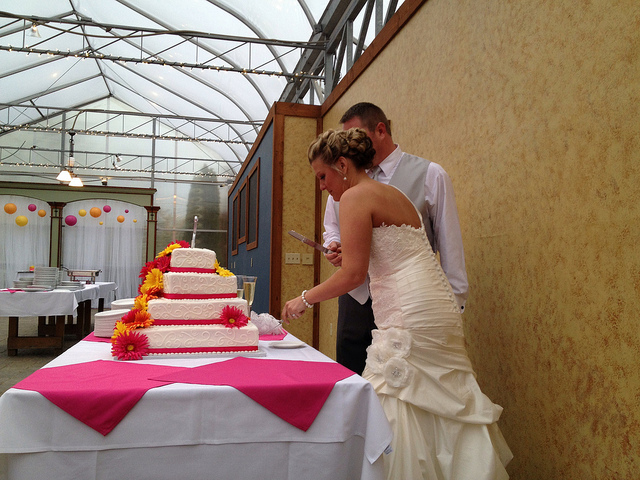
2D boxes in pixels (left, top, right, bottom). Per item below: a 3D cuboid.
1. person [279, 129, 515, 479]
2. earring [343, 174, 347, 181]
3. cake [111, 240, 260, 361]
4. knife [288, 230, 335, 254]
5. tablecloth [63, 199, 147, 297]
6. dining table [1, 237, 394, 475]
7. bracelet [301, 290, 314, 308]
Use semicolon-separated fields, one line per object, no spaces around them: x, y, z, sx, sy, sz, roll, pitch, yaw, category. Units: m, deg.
0.514;0.513;3.303;1.363;2.891;1.097;-7;-7;30;person
0.108;-0.292;2.326;0.005;0.024;0.017;-3;-32;-11;earring
-0.626;0.307;2.391;0.493;0.443;0.544;0;-1;-11;cake
-0.100;0.012;4.168;0.053;0.051;0.538;-13;-33;34;knife
-6.648;0.219;15.566;2.437;3.717;0.249;5;-36;-30;tablecloth
-0.485;0.448;2.177;1.354;0.866;0.868;2;0;-8;dining table
-0.066;0.265;2.267;0.045;0.082;0.155;2;-1;-1;bracelet
